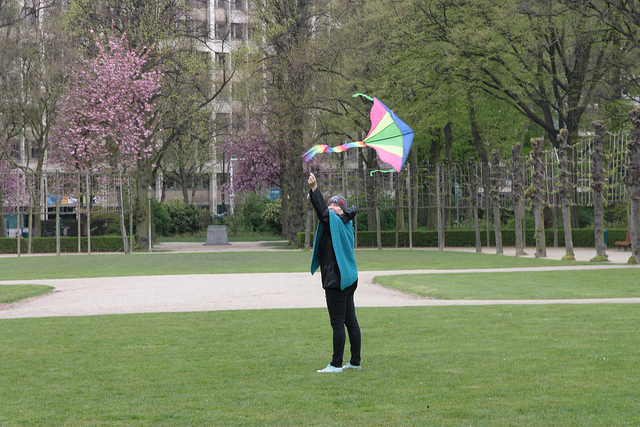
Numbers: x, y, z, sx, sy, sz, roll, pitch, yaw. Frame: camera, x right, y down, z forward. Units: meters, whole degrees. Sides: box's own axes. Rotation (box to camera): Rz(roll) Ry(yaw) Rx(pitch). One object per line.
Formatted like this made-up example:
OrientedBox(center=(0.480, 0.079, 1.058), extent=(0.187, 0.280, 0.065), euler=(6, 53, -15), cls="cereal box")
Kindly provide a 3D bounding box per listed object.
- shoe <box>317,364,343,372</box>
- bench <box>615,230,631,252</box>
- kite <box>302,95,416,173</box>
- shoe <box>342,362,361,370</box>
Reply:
OrientedBox(center=(0.416, 6.060, 44.019), extent=(0.916, 0.406, 0.335), euler=(3, -7, 3), cls="shoe")
OrientedBox(center=(17.734, 1.646, 65.876), extent=(1.146, 1.523, 0.868), euler=(-4, -1, 7), cls="bench")
OrientedBox(center=(1.517, -2.616, 44.828), extent=(4.418, 3.542, 0.598), euler=(-8, -19, -8), cls="kite")
OrientedBox(center=(1.235, 5.953, 44.062), extent=(0.633, 0.305, 0.242), euler=(4, -1, 9), cls="shoe")
